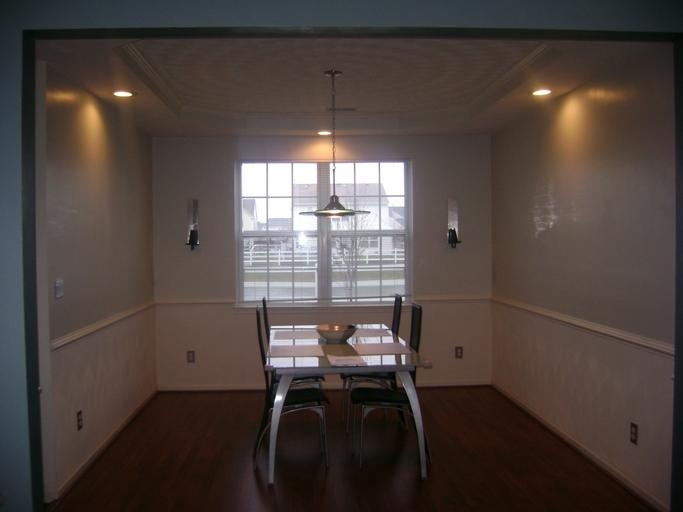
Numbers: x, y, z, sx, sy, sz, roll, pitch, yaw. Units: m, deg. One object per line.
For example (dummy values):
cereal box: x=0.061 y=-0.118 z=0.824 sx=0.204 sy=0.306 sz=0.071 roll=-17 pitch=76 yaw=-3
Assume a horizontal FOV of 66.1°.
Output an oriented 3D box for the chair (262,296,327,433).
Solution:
chair: x=-0.402 y=0.852 z=4.090 sx=0.590 sy=0.931 sz=0.632 roll=-1 pitch=13 yaw=14

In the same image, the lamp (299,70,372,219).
lamp: x=-0.055 y=-0.850 z=4.116 sx=0.523 sy=1.070 sz=0.544 roll=-4 pitch=18 yaw=-12

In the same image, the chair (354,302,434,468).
chair: x=0.315 y=1.029 z=4.500 sx=0.890 sy=1.683 sz=0.886 roll=1 pitch=-6 yaw=-2

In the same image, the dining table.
dining table: x=0.027 y=1.011 z=3.996 sx=1.150 sy=0.884 sz=1.071 roll=-1 pitch=10 yaw=-4
